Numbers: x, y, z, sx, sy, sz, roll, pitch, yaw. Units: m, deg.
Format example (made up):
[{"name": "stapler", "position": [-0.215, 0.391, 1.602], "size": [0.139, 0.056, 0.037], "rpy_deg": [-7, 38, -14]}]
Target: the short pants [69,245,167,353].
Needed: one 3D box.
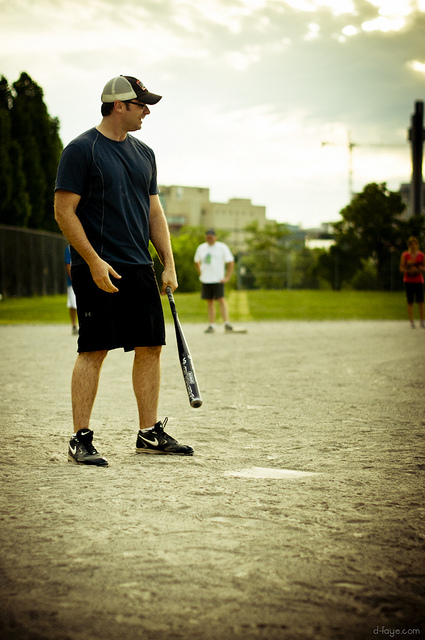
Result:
[{"name": "short pants", "position": [-0.360, -0.053, 4.011], "size": [0.349, 0.384, 0.214], "rpy_deg": [-2, -10, -16]}]

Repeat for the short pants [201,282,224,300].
[{"name": "short pants", "position": [0.002, -0.297, 10.809], "size": [0.241, 0.252, 0.148], "rpy_deg": [1, -5, 2]}]

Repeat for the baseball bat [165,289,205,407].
[{"name": "baseball bat", "position": [-0.211, 0.185, 8.000], "size": [0.117, 0.973, 0.120], "rpy_deg": [-14, -22, -11]}]

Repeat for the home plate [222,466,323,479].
[{"name": "home plate", "position": [0.211, 0.544, 3.653], "size": [0.331, 0.010, 0.161], "rpy_deg": [0, 8, 9]}]

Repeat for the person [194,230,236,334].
[{"name": "person", "position": [0.018, -0.410, 10.850], "size": [0.374, 1.043, 0.852], "rpy_deg": [-1, 7, -2]}]
